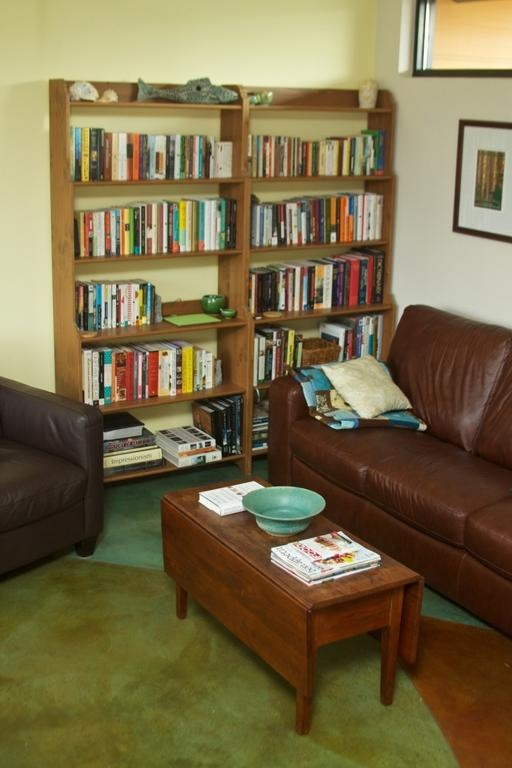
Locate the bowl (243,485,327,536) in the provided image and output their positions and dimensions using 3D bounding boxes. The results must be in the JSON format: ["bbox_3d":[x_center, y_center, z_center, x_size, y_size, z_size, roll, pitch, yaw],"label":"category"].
[{"bbox_3d":[0.070,0.370,1.796,0.162,0.058,0.163,3,20,-1],"label":"bowl"}]

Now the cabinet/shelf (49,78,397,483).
[{"bbox_3d":[-0.227,-0.536,3.144,1.991,2.185,0.495,-10,20,-26],"label":"cabinet/shelf"}]

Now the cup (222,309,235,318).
[{"bbox_3d":[-0.151,-0.381,3.304,0.049,0.036,0.054,0,7,-1],"label":"cup"}]

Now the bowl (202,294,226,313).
[{"bbox_3d":[-0.232,-0.454,3.362,0.106,0.082,0.111,1,15,0],"label":"bowl"}]
